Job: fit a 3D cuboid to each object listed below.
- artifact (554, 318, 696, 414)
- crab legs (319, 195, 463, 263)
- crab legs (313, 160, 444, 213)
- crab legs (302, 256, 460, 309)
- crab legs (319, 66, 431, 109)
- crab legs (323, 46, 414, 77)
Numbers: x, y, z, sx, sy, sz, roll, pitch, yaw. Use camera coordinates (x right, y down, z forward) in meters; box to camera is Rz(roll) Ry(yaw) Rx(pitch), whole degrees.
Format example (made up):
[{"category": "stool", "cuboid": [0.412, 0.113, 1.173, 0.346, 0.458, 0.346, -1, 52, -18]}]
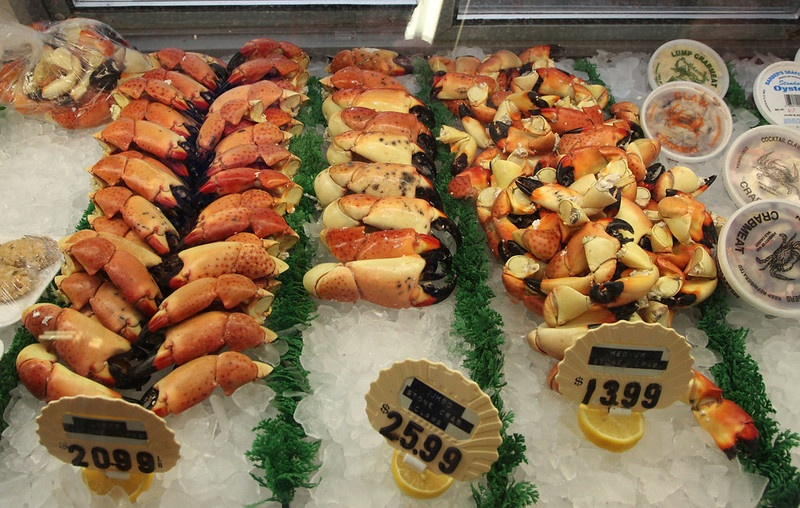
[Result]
[{"category": "artifact", "cuboid": [0.956, 0.483, 2.629, 0.572, 0.410, 0.180, 4, 43, 1]}, {"category": "crab legs", "cuboid": [-0.010, -0.115, 3.133, 0.719, 0.205, 0.287, 4, 51, 8]}, {"category": "crab legs", "cuboid": [-0.145, -0.371, 3.122, 0.517, 0.164, 0.271, 6, 40, 6]}, {"category": "crab legs", "cuboid": [-0.097, 0.137, 2.903, 0.628, 0.271, 0.176, 5, 38, 3]}, {"category": "crab legs", "cuboid": [-0.166, -0.879, 3.554, 0.595, 0.177, 0.369, 17, 9, -12]}, {"category": "crab legs", "cuboid": [-0.179, -1.165, 3.717, 0.406, 0.125, 0.224, 5, 40, -2]}]
